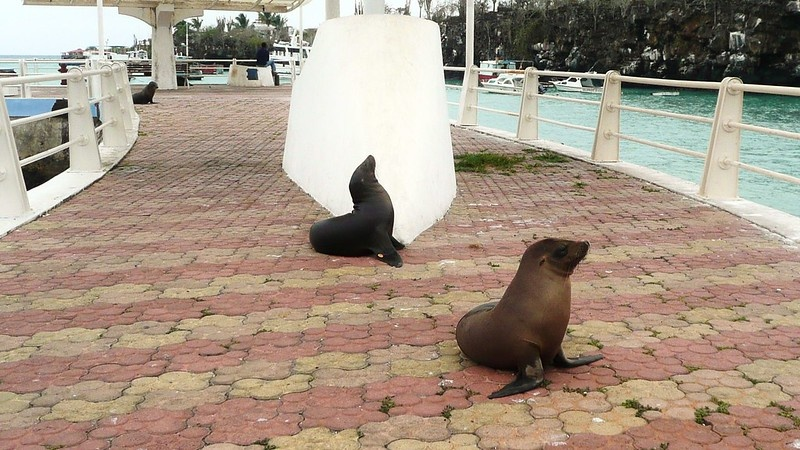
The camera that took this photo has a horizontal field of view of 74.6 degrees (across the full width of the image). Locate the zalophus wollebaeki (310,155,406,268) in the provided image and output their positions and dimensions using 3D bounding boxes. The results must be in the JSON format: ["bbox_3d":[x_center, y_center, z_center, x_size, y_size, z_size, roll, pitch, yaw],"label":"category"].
[{"bbox_3d":[-0.417,-0.152,6.427,1.230,1.114,0.620,10,23,23],"label":"zalophus wollebaeki"}]

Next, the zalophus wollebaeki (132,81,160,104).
[{"bbox_3d":[-10.844,-5.620,22.142,0.922,0.879,1.118,-8,21,-23],"label":"zalophus wollebaeki"}]

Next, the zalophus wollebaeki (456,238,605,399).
[{"bbox_3d":[1.223,0.804,4.658,1.557,1.120,1.510,3,-14,-29],"label":"zalophus wollebaeki"}]
